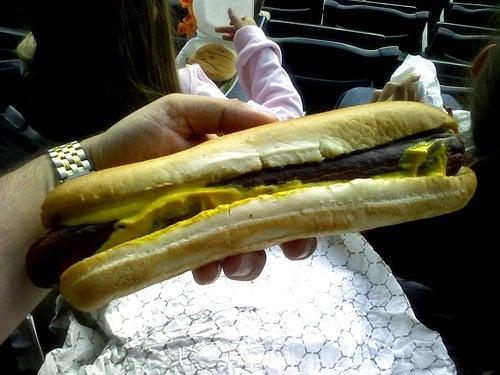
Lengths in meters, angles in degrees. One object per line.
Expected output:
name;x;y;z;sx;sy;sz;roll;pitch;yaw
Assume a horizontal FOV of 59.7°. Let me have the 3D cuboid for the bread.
bread;-0.394;-1.343;4.597;0.453;0.138;0.435;42;54;4
